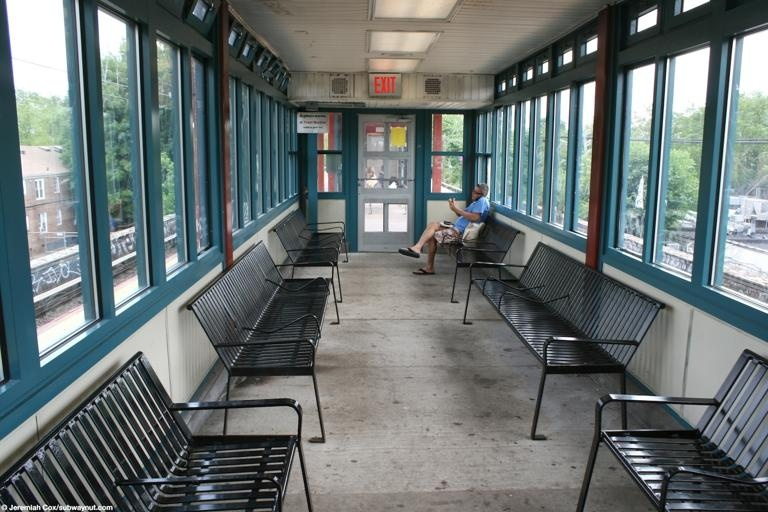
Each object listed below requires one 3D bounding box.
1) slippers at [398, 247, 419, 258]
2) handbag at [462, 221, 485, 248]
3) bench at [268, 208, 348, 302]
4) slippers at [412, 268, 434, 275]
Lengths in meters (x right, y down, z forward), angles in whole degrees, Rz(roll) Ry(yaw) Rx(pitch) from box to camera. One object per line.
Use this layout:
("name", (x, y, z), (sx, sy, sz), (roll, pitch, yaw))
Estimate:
("slippers", (0.454, -0.054, 9.375), (0.422, 0.140, 0.148), (13, 5, -4))
("handbag", (1.527, -0.361, 8.811), (0.161, 0.416, 0.316), (27, 11, -12))
("bench", (-1.118, -0.066, 8.810), (0.972, 1.026, 2.503), (6, 10, -2))
("slippers", (0.674, 0.257, 9.048), (0.328, 0.087, 0.126), (1, 1, 1))
